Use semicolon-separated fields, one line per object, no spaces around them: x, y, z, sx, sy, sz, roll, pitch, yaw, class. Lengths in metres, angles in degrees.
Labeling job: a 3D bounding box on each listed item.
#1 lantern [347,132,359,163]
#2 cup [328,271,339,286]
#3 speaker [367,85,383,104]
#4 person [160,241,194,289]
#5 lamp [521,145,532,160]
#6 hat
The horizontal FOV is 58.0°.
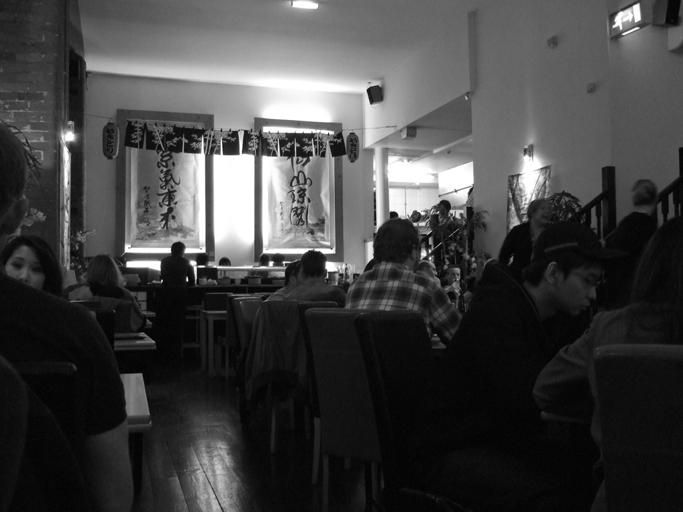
0.199;-2.049;11.521;0.218;0.548;0.313;1;-2;-1;lantern
-0.112;0.332;8.895;0.145;0.241;0.153;0;4;0;cup
0.619;-3.032;11.782;0.293;0.407;0.309;3;-5;-13;speaker
-2.157;0.125;7.988;0.476;0.784;0.520;2;6;0;person
2.360;-1.294;7.765;0.051;0.189;0.190;2;-2;-16;lamp
0.737;-0.024;1.998;0.231;0.133;0.173;-16;2;12;hat
